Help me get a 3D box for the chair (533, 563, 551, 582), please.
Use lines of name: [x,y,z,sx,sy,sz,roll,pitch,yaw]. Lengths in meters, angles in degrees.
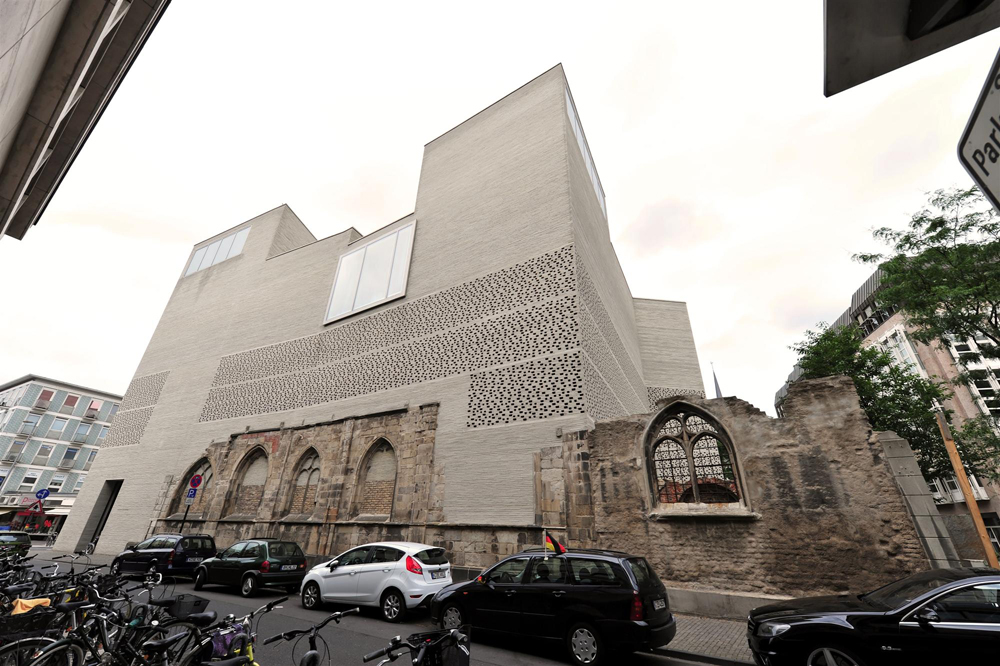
chair: [0.895,5.246,10.236,0.284,0.384,0.419,9,-14,10]
